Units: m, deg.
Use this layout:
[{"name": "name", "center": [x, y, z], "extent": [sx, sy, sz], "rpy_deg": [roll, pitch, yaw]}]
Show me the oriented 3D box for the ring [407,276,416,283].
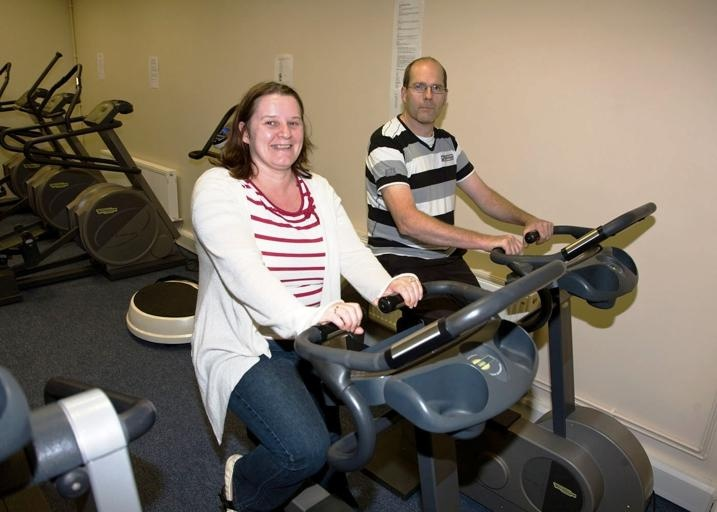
[{"name": "ring", "center": [0.198, 0.087, 1.971], "extent": [0.018, 0.021, 0.023], "rpy_deg": [-11, 50, -32]}]
